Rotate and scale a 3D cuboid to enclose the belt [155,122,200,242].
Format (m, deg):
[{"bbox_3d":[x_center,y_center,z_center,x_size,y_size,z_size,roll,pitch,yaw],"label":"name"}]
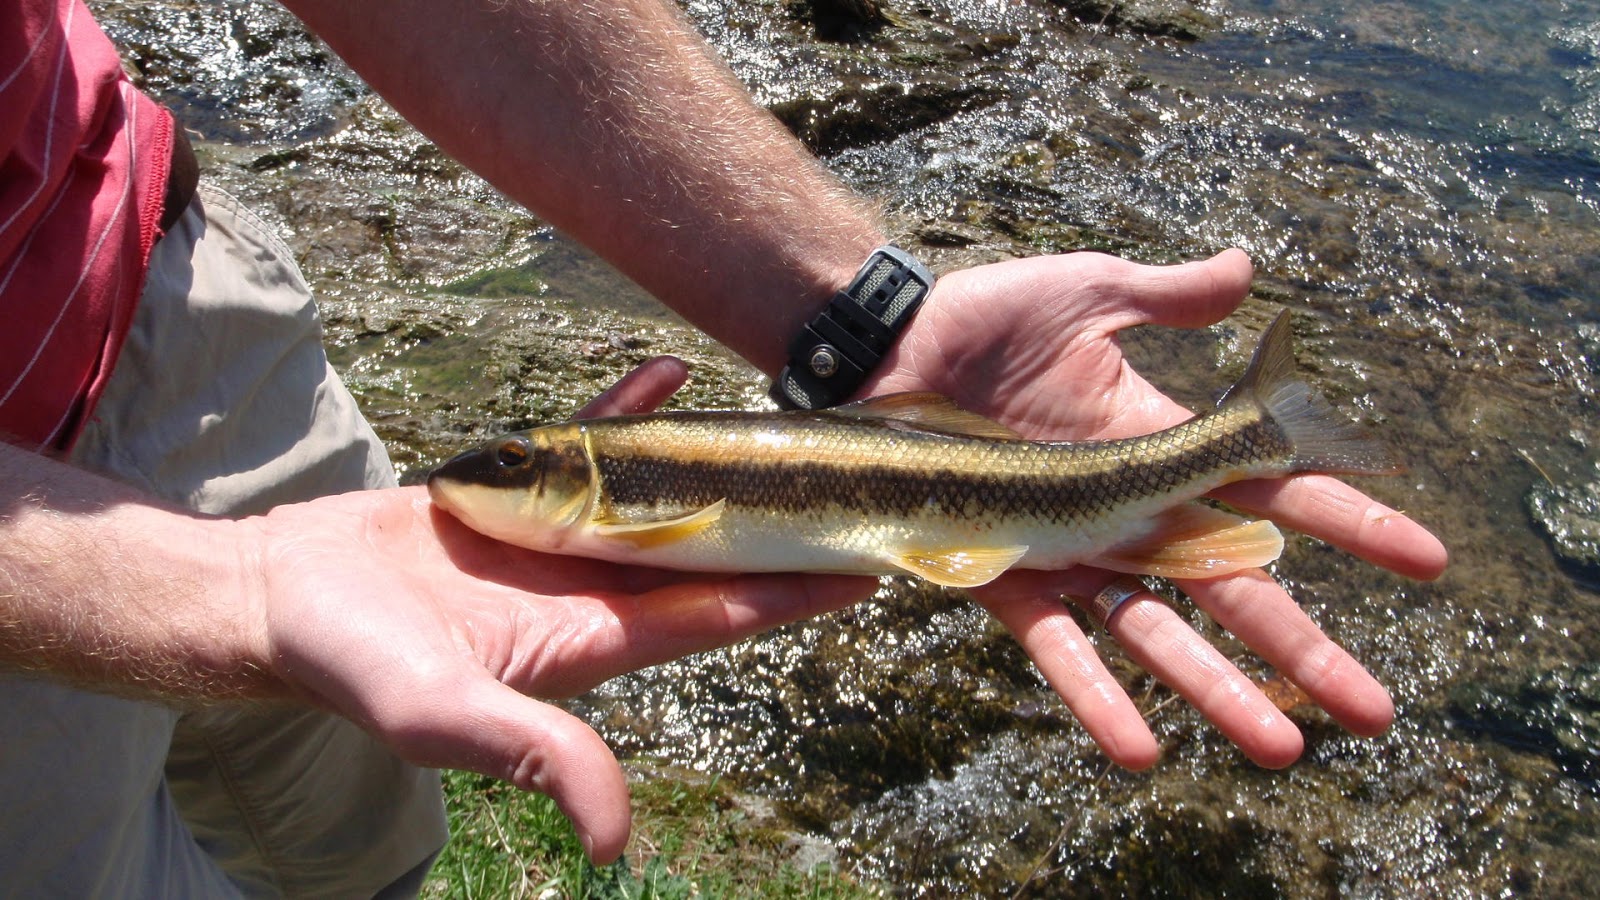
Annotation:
[{"bbox_3d":[-4.521,-2.012,9.493,0.221,0.481,0.635,14,44,-25],"label":"belt"}]
